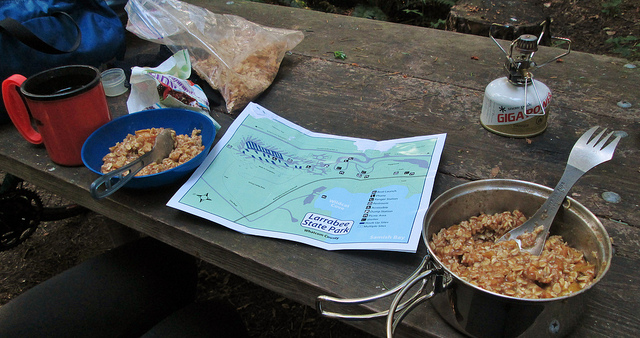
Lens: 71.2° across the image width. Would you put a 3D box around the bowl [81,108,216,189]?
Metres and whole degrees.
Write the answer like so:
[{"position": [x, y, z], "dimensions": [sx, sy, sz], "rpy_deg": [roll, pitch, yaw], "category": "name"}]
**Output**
[{"position": [-0.559, -0.089, 1.530], "dimensions": [0.351, 0.090, 0.311], "rpy_deg": [9, 40, 7], "category": "bowl"}]
